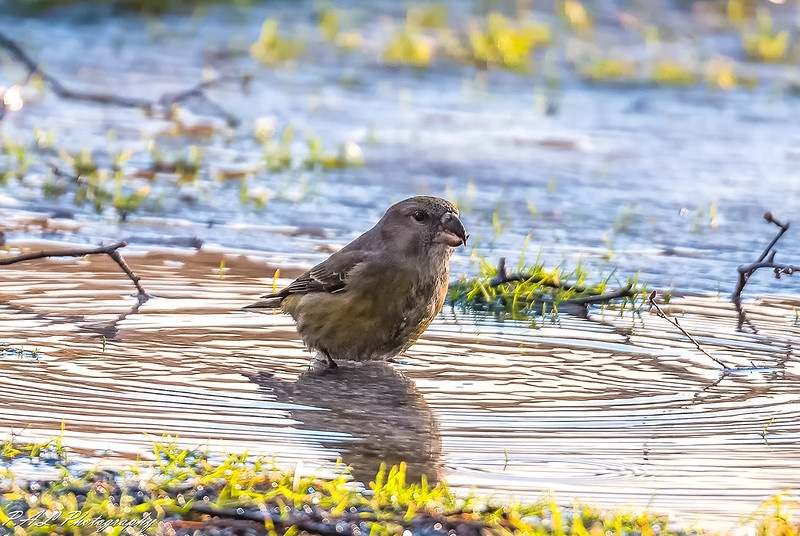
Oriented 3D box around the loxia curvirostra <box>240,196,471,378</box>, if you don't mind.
[{"bbox_3d":[-0.120,0.167,7.121,1.212,1.245,2.147,9,-6,-35],"label":"loxia curvirostra"}]
